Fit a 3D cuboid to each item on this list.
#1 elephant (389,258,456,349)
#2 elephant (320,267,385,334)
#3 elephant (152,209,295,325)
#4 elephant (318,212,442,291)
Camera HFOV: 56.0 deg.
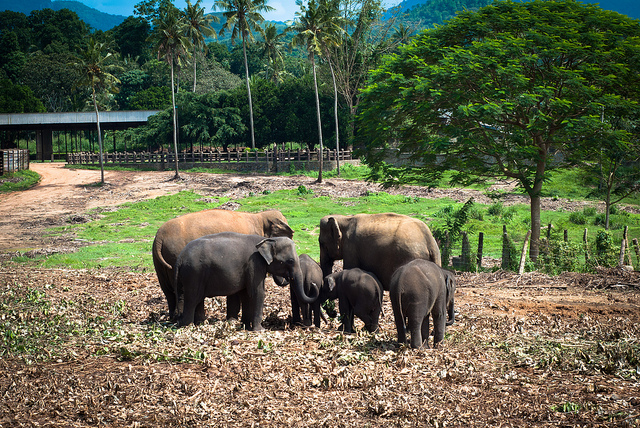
[{"bbox_3d":[2.482,2.151,14.357,1.593,2.052,0.717,-7,14,-32],"label":"elephant"},{"bbox_3d":[0.767,2.191,15.167,1.780,1.584,1.063,0,1,38],"label":"elephant"},{"bbox_3d":[-2.952,0.806,17.014,4.850,2.662,1.995,-7,10,-31],"label":"elephant"},{"bbox_3d":[1.473,1.327,16.330,3.657,2.808,1.664,2,7,34],"label":"elephant"}]
